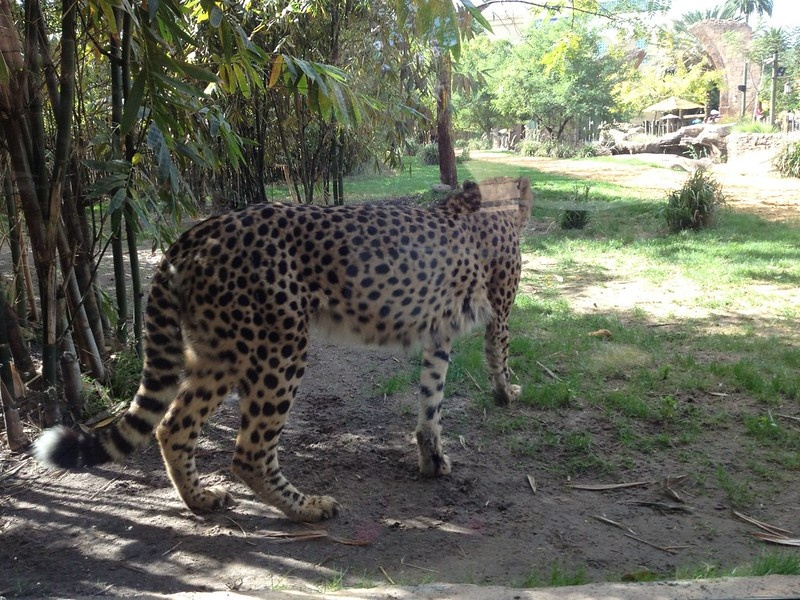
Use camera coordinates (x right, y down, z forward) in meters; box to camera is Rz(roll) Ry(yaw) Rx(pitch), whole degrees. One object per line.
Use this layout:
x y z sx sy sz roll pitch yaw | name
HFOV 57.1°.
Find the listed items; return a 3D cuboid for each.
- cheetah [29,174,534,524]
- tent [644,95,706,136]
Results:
-0.272 0.200 4.524 3.505 2.005 0.805 -11 21 -34 | cheetah
1.774 -1.182 4.857 0.312 0.141 0.298 10 26 44 | tent
